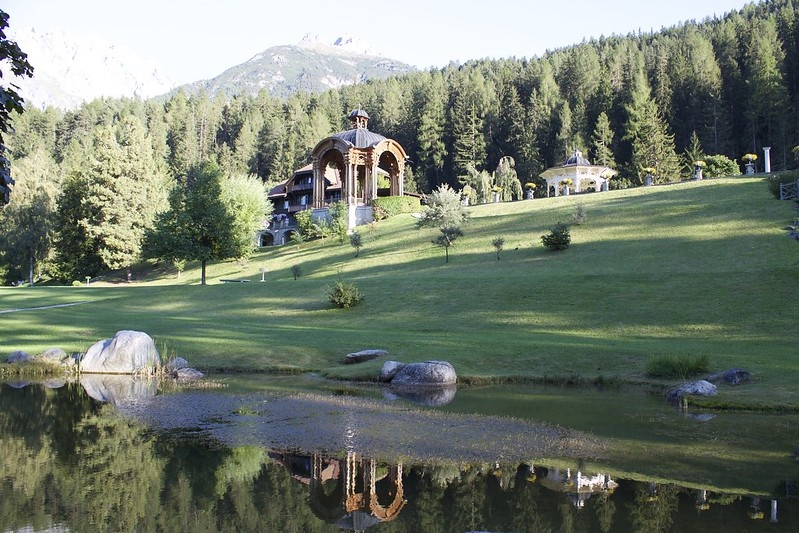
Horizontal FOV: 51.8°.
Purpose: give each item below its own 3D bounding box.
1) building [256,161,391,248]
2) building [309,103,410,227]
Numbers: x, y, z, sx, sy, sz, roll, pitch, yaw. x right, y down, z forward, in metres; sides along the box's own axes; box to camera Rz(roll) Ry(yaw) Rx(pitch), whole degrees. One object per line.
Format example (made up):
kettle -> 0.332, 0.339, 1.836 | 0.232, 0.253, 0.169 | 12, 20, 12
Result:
building -> -15.018, -9.210, 122.623 | 16.707, 7.915, 11.362 | -1, 2, 42
building -> -5.778, -13.444, 112.723 | 11.330, 17.044, 11.547 | 5, 0, -27
